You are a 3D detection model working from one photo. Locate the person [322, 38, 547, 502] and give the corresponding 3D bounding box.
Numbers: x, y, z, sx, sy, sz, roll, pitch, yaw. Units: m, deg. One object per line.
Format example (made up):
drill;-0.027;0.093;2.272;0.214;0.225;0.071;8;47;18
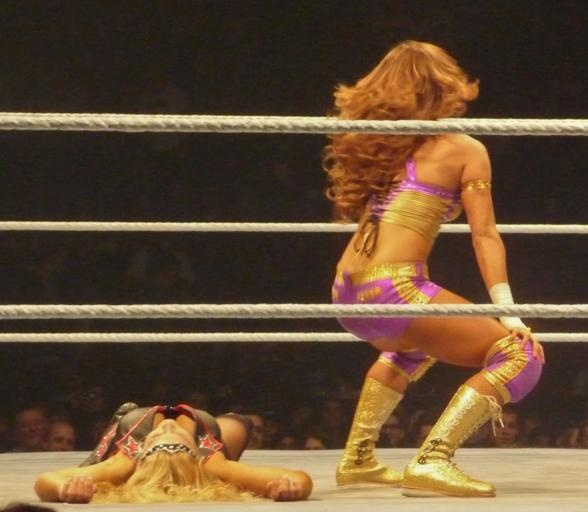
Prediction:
person;0.488;0.044;4.019;0.910;1.674;0.439;10;0;-1
